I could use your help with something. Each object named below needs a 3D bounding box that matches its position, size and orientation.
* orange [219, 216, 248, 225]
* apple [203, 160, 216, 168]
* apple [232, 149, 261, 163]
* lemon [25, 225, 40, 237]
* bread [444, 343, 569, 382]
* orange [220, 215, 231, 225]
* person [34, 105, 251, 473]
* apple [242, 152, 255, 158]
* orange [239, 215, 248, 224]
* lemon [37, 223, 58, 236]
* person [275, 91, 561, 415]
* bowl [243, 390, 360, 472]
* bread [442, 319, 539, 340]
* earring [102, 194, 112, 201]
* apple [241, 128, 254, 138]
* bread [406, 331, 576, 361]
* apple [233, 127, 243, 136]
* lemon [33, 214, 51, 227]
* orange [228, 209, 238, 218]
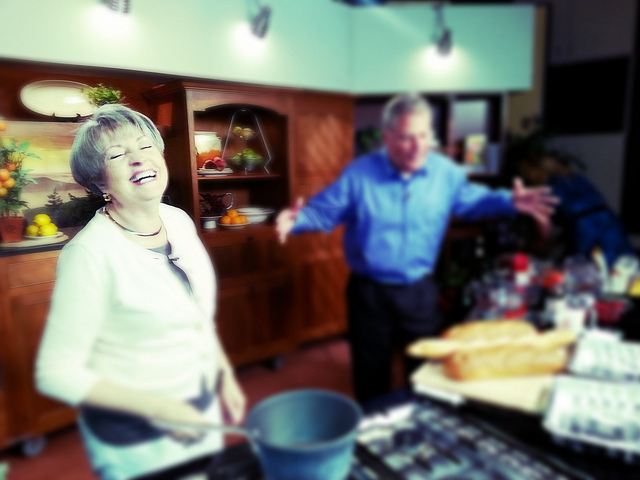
[{"bbox_3d":[-0.552,-0.121,3.018,0.157,0.052,0.065,0,29,-8],"label":"orange"},{"bbox_3d":[-0.693,-0.471,2.938,0.063,0.045,0.055,0,-26,1],"label":"apple"},{"bbox_3d":[-0.489,-0.547,3.090,0.152,0.074,0.144,0,4,-7],"label":"apple"},{"bbox_3d":[-1.476,-0.044,2.408,0.063,0.049,0.101,-12,15,-34],"label":"lemon"},{"bbox_3d":[0.567,0.364,1.410,0.423,0.062,0.110,-6,12,-11],"label":"bread"},{"bbox_3d":[-0.608,-0.131,3.033,0.068,0.053,0.054,-3,36,-36],"label":"orange"},{"bbox_3d":[-0.501,0.142,1.369,0.501,1.061,0.566,-4,13,1],"label":"person"},{"bbox_3d":[-0.464,-0.548,3.037,0.077,0.035,0.029,-6,13,-9],"label":"apple"},{"bbox_3d":[-0.495,-0.132,3.048,0.050,0.055,0.047,-13,42,-11],"label":"orange"},{"bbox_3d":[-1.408,-0.046,2.421,0.050,0.046,0.081,6,12,39],"label":"lemon"},{"bbox_3d":[0.351,0.054,2.164,1.064,1.389,0.450,-5,13,-3],"label":"person"},{"bbox_3d":[-0.027,0.392,0.940,0.200,0.126,0.168,-13,15,-36],"label":"bowl"},{"bbox_3d":[0.564,0.300,1.560,0.166,0.044,0.117,-4,-2,2],"label":"bread"},{"bbox_3d":[-0.659,-0.131,1.452,0.015,0.018,0.048,-1,1,-12],"label":"earring"},{"bbox_3d":[-0.483,-0.713,3.135,0.061,0.059,0.034,-40,27,-20],"label":"apple"},{"bbox_3d":[0.549,0.304,1.506,0.547,0.112,0.060,-6,-8,5],"label":"bread"},{"bbox_3d":[-0.548,-0.722,3.140,0.059,0.049,0.057,-1,0,17],"label":"apple"},{"bbox_3d":[-1.457,-0.103,2.464,0.078,0.055,0.057,2,17,-22],"label":"lemon"},{"bbox_3d":[-0.574,-0.174,3.071,0.054,0.052,0.063,33,-16,-5],"label":"orange"}]
